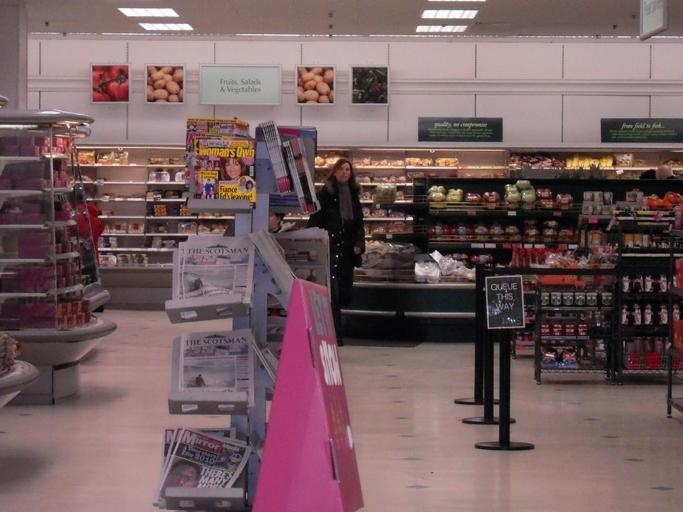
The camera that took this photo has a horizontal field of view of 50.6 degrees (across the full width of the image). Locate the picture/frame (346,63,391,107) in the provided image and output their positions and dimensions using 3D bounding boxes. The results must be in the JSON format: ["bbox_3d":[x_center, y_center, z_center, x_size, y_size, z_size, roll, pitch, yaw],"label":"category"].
[{"bbox_3d":[0.427,-2.725,11.513,0.695,0.662,0.072,-1,4,0],"label":"picture/frame"}]

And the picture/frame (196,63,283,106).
[{"bbox_3d":[-1.621,-2.719,11.516,1.268,0.621,0.105,0,4,-1],"label":"picture/frame"}]
